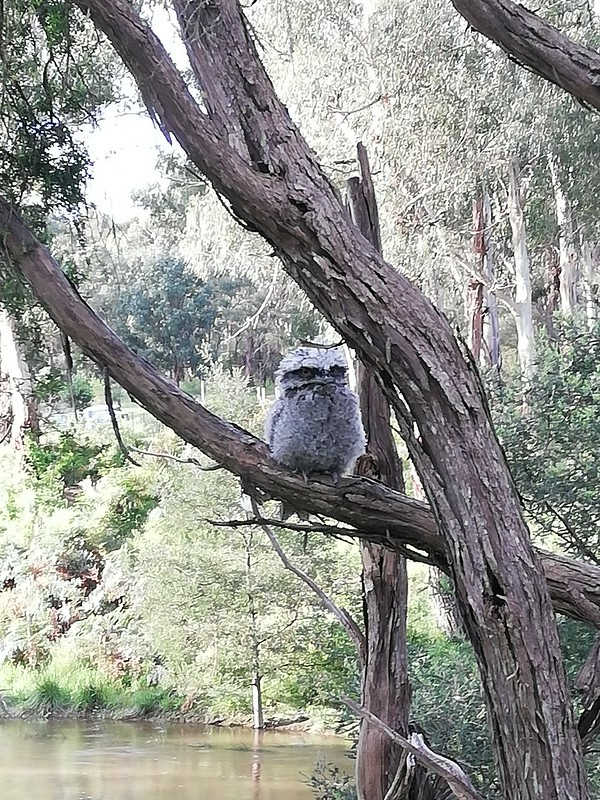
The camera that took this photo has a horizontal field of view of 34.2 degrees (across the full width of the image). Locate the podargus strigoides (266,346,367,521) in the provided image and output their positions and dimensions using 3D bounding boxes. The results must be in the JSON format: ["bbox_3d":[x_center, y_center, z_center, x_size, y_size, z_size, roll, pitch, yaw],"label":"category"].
[{"bbox_3d":[0.040,0.021,2.318,0.247,0.349,0.256,4,15,26],"label":"podargus strigoides"}]
